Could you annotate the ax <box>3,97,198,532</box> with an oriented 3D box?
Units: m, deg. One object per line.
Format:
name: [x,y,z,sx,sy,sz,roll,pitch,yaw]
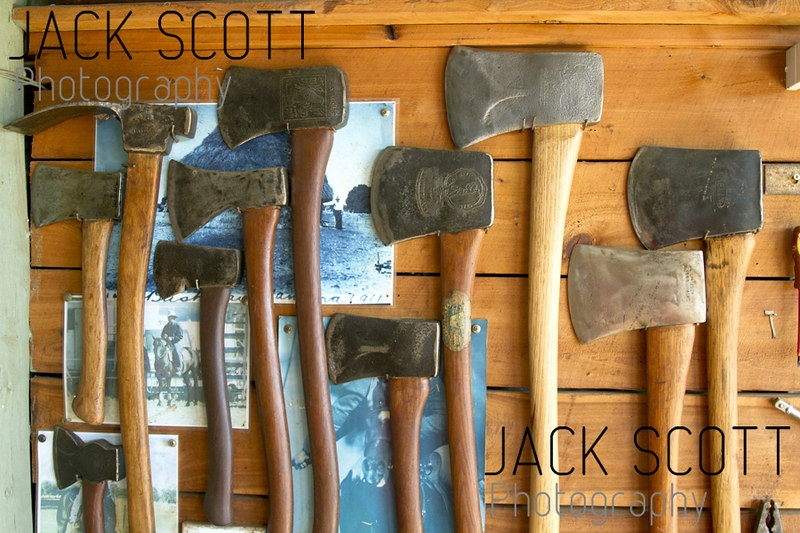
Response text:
ax: [-0.909,0.163,3.417,0.513,1.375,0.129,1,0,5]

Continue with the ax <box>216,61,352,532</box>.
ax: [-0.374,0.100,3.417,0.402,1.445,0.085,1,0,17]
